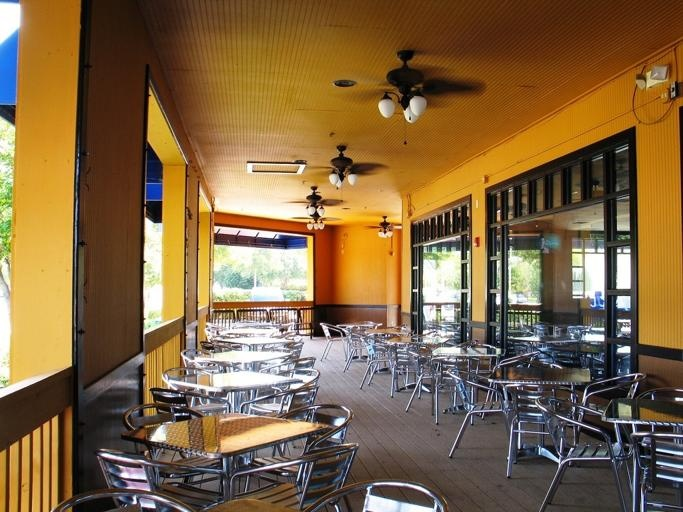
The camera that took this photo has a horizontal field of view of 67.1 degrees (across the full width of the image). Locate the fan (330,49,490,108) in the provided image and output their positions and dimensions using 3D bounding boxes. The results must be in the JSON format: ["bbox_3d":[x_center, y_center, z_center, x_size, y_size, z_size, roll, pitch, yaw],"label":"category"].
[{"bbox_3d":[0.796,-1.932,5.816,0.914,0.291,0.892,-1,3,-37],"label":"fan"}]

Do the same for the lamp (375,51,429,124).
[{"bbox_3d":[0.648,-1.834,5.435,0.525,0.613,0.450,-13,34,-11],"label":"lamp"}]
